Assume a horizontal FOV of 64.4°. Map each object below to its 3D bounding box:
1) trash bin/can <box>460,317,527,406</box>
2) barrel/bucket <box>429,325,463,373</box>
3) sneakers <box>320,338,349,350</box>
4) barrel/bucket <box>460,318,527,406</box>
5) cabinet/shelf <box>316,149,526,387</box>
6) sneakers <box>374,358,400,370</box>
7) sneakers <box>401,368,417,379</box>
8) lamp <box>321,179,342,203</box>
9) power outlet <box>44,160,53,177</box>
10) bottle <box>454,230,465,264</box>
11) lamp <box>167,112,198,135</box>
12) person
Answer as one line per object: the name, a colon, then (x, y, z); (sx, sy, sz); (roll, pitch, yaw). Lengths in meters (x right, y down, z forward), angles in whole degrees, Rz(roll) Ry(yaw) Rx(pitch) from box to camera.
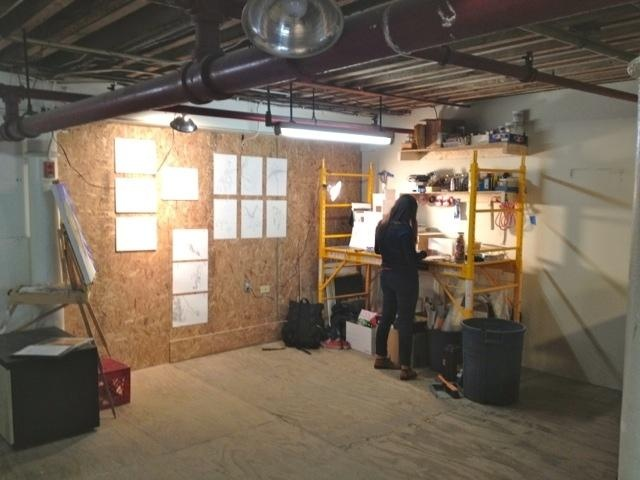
trash bin/can: (1.819, 1.353, 5.779); (0.763, 0.820, 0.822); (0, 3, 5)
barrel/bucket: (1.504, 1.331, 6.369); (0.458, 0.634, 0.490); (-1, 6, 0)
sneakers: (0.230, 1.480, 7.175); (0.172, 0.082, 0.227); (3, -2, 29)
barrel/bucket: (1.795, 1.323, 5.724); (0.764, 0.842, 0.822); (0, 2, 0)
cabinet/shelf: (1.380, 0.406, 6.647); (0.986, 2.877, 2.923); (-1, 4, -33)
sneakers: (0.821, 1.566, 6.394); (0.354, 0.154, 0.129); (1, -2, -11)
sneakers: (1.056, 1.611, 6.072); (0.101, 0.147, 0.227); (4, 8, 40)
lamp: (0.218, -0.767, 7.971); (0.313, 0.317, 0.075); (-10, 9, -14)
power outlet: (-2.978, -0.780, 5.564); (0.023, 0.191, 0.108); (7, 9, 40)
bottle: (1.720, 0.095, 6.200); (0.109, 0.347, 0.187); (2, 7, 12)
lamp: (-1.575, -1.337, 5.871); (0.267, 0.136, 0.265); (2, 13, -23)
person: (0.976, 0.557, 6.185); (0.374, 2.195, 0.623); (-3, 8, -28)
